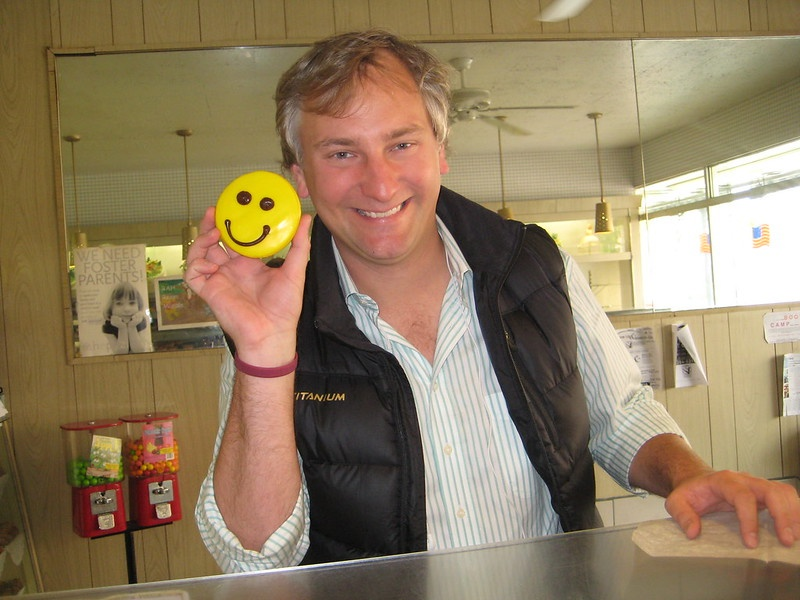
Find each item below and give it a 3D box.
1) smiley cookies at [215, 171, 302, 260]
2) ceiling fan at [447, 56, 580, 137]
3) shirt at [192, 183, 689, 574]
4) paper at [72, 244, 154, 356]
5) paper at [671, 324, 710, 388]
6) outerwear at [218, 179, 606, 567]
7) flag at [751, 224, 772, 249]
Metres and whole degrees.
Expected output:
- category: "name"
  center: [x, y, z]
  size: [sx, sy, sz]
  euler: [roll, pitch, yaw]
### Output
- category: "smiley cookies"
  center: [-0.394, -0.239, 1.974]
  size: [0.237, 0.254, 0.086]
  euler: [-4, -2, 5]
- category: "ceiling fan"
  center: [0.457, -0.929, 3.367]
  size: [0.389, 0.175, 0.333]
  euler: [-6, -12, 13]
- category: "shirt"
  center: [0.176, 0.262, 2.197]
  size: [1.363, 1.149, 0.787]
  euler: [1, 21, 22]
- category: "paper"
  center: [-1.314, 0.006, 3.214]
  size: [0.312, 0.486, 0.066]
  euler: [-4, -2, 3]
- category: "paper"
  center: [1.434, 0.275, 3.493]
  size: [0.153, 0.304, 0.063]
  euler: [-9, -16, 30]
- category: "outerwear"
  center: [0.126, 0.272, 2.211]
  size: [1.176, 1.110, 0.660]
  euler: [-18, 12, -4]
- category: "flag"
  center: [1.845, -0.324, 3.585]
  size: [0.114, 0.154, 0.012]
  euler: [-1, 1, -4]
